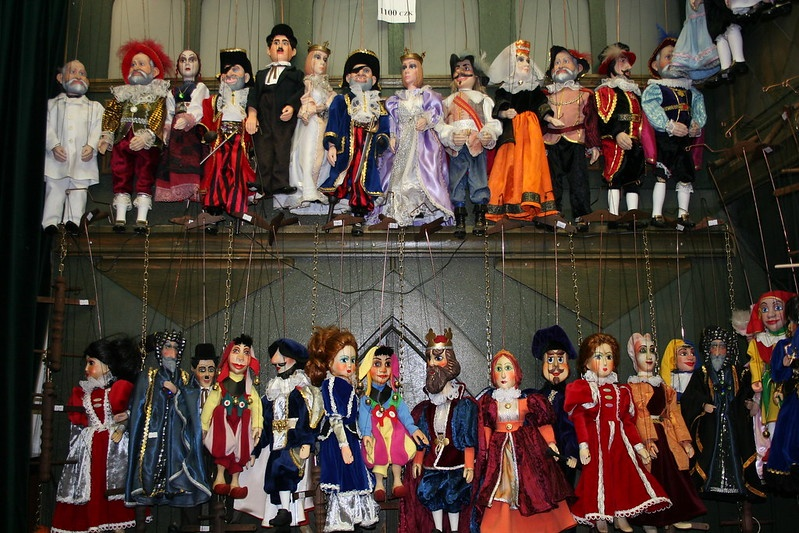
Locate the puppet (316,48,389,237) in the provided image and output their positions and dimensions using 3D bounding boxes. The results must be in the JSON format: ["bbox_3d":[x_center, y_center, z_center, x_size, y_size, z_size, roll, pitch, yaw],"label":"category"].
[{"bbox_3d":[-0.410,-1.150,10.161,0.621,1.688,0.324,0,-7,-3],"label":"puppet"}]

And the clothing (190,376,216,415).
[{"bbox_3d":[-1.668,1.108,9.413,0.174,0.273,0.062,2,-13,-12],"label":"clothing"}]

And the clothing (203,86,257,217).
[{"bbox_3d":[-1.587,-1.058,10.297,0.581,1.422,0.384,4,-30,-14],"label":"clothing"}]

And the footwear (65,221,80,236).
[{"bbox_3d":[-3.018,-0.337,10.267,0.122,0.047,0.098,33,11,17],"label":"footwear"}]

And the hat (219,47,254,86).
[{"bbox_3d":[-1.540,-1.875,10.437,0.322,0.357,0.283,0,3,-11],"label":"hat"}]

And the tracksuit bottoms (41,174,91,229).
[{"bbox_3d":[-3.077,-0.611,10.292,0.440,0.558,0.174,7,27,-17],"label":"tracksuit bottoms"}]

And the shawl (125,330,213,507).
[{"bbox_3d":[-1.943,1.281,9.380,0.670,1.455,0.312,2,-8,-15],"label":"shawl"}]
